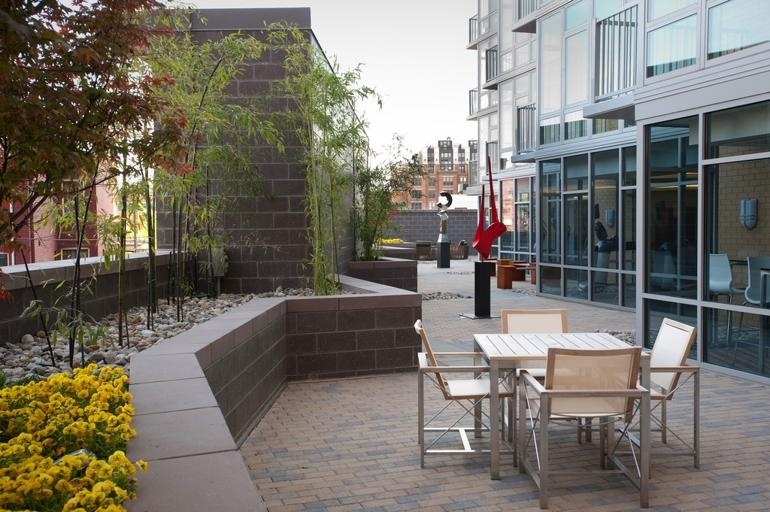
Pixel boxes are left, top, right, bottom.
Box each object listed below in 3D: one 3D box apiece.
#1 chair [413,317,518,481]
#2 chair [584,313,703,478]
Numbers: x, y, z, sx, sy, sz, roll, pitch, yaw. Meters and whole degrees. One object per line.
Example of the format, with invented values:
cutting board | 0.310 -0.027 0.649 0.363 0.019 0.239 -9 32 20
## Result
chair | 0.634 1.089 4.622 0.764 1.078 0.861 0 -3 2
chair | 2.014 1.066 4.456 0.772 0.977 0.821 -4 -4 13
